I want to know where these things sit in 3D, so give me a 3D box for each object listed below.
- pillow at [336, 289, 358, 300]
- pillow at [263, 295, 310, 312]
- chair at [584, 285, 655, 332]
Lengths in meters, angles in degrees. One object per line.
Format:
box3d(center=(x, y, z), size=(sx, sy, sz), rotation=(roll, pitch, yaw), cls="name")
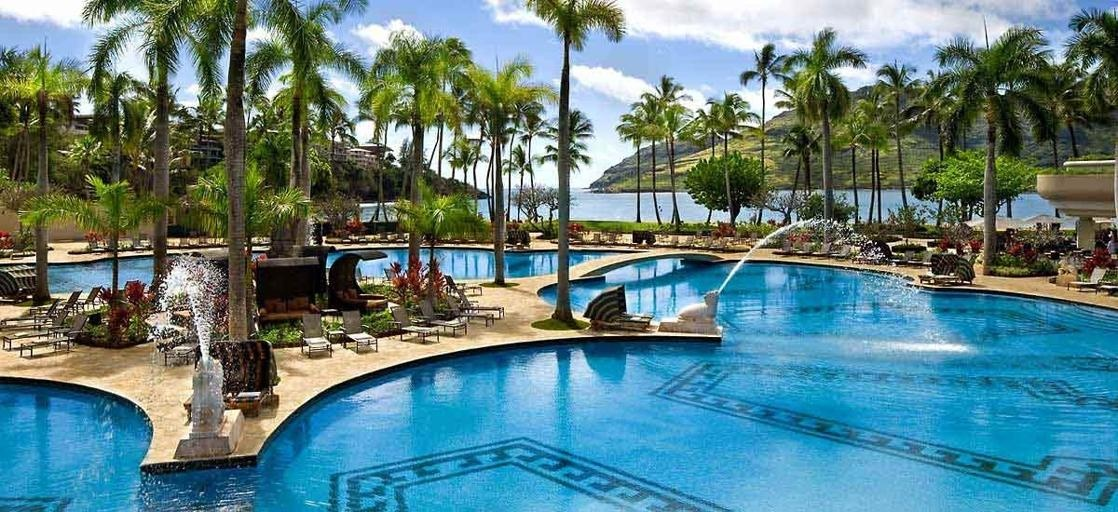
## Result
box3d(center=(-12.192, 2.156, 39.827), size=(0.799, 0.663, 0.279), rotation=(5, -26, -25), cls="pillow")
box3d(center=(-15.104, 2.617, 38.488), size=(2.318, 0.700, 0.832), rotation=(-3, 1, -20), cls="pillow")
box3d(center=(3.081, 2.960, 39.135), size=(4.350, 2.447, 1.975), rotation=(0, 5, 3), cls="chair")
